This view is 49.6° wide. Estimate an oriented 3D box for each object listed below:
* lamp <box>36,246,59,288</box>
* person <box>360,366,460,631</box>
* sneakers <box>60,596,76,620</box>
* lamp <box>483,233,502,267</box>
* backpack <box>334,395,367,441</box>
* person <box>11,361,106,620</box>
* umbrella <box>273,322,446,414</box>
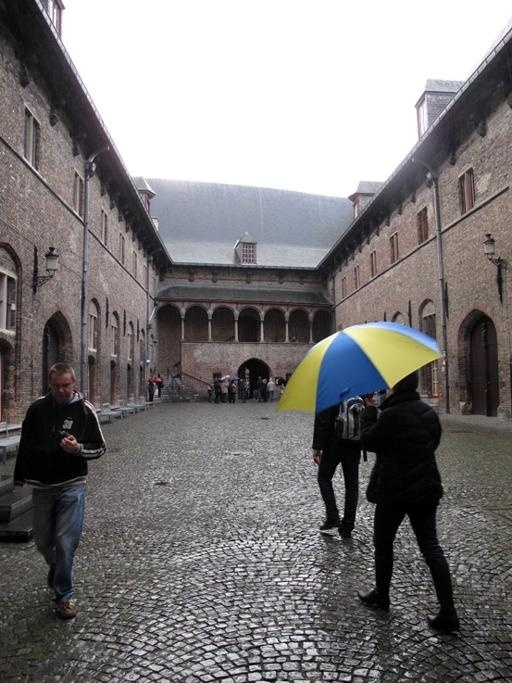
[{"bbox_3d":[-5.036,-1.853,13.281,0.489,0.981,0.296,-2,7,-22],"label":"lamp"},{"bbox_3d":[0.862,0.884,3.237,0.561,1.390,0.326,-4,-7,28],"label":"person"},{"bbox_3d":[-1.114,1.576,3.253,0.054,0.074,0.160,3,-13,-19],"label":"sneakers"},{"bbox_3d":[6.790,-2.740,15.858,0.493,1.125,1.506,-4,-7,25],"label":"lamp"},{"bbox_3d":[0.812,0.657,4.756,0.274,0.376,0.204,-3,5,-29],"label":"backpack"},{"bbox_3d":[-1.255,0.896,3.530,0.503,1.498,0.352,-3,-7,22],"label":"person"},{"bbox_3d":[0.595,0.115,3.614,1.063,0.401,1.146,-17,-3,29],"label":"umbrella"}]
